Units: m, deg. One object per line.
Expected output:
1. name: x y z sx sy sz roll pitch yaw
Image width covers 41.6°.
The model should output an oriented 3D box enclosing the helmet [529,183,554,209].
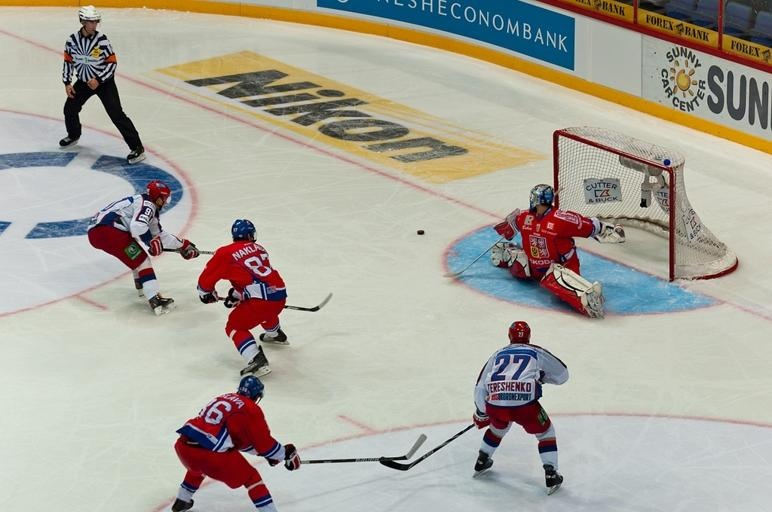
1. helmet: 1.665 -0.650 10.761 0.301 0.259 0.240 12 17 34

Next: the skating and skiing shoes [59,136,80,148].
1. skating and skiing shoes: -4.397 -1.573 13.884 0.315 0.109 0.114 -21 41 -34

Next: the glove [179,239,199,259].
1. glove: -2.087 -0.073 10.638 0.243 0.096 0.162 17 57 -12

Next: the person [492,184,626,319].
1. person: 1.834 -0.252 10.968 1.181 1.042 1.805 -26 29 -27

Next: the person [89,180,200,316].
1. person: -2.564 -0.118 10.649 0.950 1.312 0.559 9 21 23

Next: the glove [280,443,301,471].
1. glove: -0.722 1.592 8.121 0.191 0.202 0.224 2 1 -24

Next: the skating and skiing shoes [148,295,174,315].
1. skating and skiing shoes: -2.350 0.501 10.543 0.123 0.156 0.339 -12 13 27

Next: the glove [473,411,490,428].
1. glove: 0.788 1.363 8.427 0.139 0.097 0.139 22 -21 1

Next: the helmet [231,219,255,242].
1. helmet: -1.378 -0.244 9.701 0.220 0.216 0.256 5 9 26

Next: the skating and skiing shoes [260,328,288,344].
1. skating and skiing shoes: -1.174 0.807 10.061 0.379 0.154 0.103 4 56 6

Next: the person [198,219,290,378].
1. person: -1.332 0.379 9.667 0.690 1.438 0.706 10 22 24

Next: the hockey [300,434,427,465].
1. hockey: -0.191 1.674 8.748 1.504 0.165 0.262 0 20 -9

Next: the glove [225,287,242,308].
1. glove: -1.482 0.413 9.639 0.074 0.195 0.131 11 49 -49

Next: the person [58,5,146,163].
1. person: -3.860 -2.283 13.458 0.807 2.025 1.156 -14 24 -35

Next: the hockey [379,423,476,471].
1. hockey: 0.364 1.668 8.781 0.976 0.195 0.074 -21 23 -12

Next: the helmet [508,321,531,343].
1. helmet: 1.103 0.619 8.364 0.192 0.187 0.195 2 -17 3

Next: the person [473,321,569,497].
1. person: 1.108 1.246 8.327 0.767 1.340 0.466 2 20 4

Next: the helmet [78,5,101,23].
1. helmet: -3.858 -3.127 13.095 0.220 0.197 0.222 -7 19 -21
